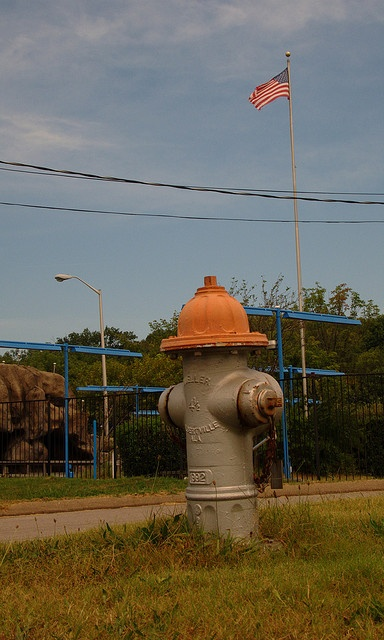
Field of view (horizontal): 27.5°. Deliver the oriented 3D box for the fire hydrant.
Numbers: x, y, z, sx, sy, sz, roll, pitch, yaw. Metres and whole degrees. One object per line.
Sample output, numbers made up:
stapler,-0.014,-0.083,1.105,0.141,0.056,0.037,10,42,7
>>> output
fire hydrant,0.291,0.677,6.203,0.931,2.022,0.577,-8,-7,39
